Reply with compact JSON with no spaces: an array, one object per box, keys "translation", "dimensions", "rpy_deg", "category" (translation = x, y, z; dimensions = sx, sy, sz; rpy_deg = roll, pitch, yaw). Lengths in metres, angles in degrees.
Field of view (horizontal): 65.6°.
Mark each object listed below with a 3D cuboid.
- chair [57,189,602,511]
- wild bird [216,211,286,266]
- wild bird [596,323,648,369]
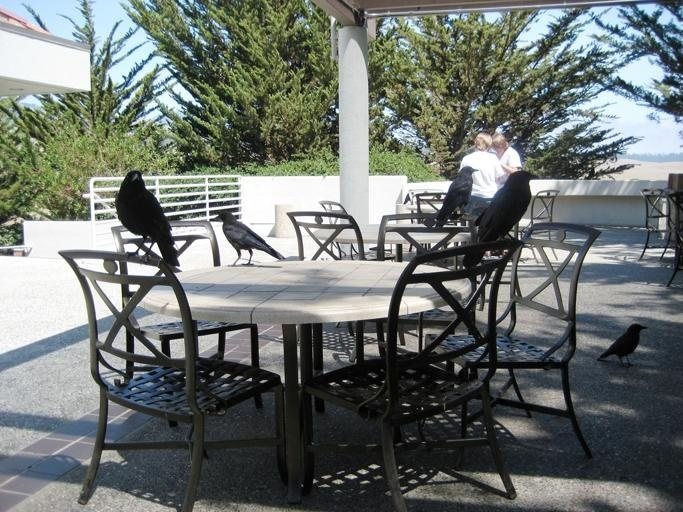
[{"translation":[-0.159,0.454,2.483],"dimensions":[1.893,1.178,1.210],"rpy_deg":[-1,14,0],"category":"chair"},{"translation":[-0.479,-0.108,2.883],"dimensions":[0.453,0.236,0.140],"rpy_deg":[9,18,24],"category":"wild bird"},{"translation":[1.960,0.615,3.698],"dimensions":[0.366,0.236,0.168],"rpy_deg":[-17,-23,41],"category":"wild bird"}]
